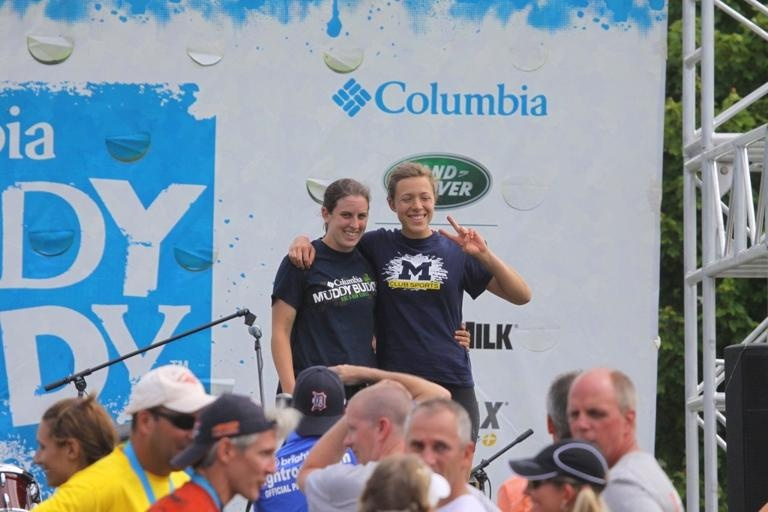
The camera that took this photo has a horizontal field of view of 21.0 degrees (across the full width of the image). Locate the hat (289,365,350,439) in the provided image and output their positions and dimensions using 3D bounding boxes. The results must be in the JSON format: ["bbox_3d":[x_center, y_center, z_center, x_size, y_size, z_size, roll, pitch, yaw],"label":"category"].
[{"bbox_3d":[-0.556,1.202,17.461,0.413,0.575,0.319,9,-49,-1],"label":"hat"}]

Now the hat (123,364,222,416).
[{"bbox_3d":[-1.771,1.066,16.812,0.609,0.249,0.411,-1,-3,13],"label":"hat"}]
